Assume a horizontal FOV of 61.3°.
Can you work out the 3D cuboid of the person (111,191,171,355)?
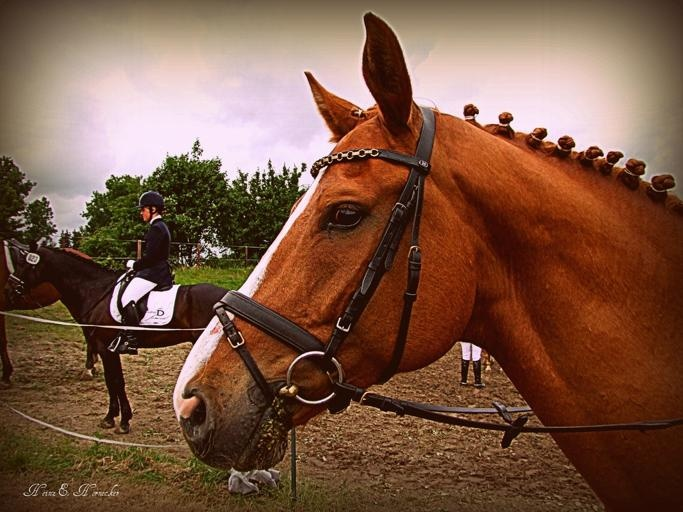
[{"bbox_3d":[-2.794,0.264,8.195,0.765,2.385,1.142,3,5,-14],"label":"person"}]

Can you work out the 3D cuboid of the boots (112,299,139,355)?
[{"bbox_3d":[-2.940,0.977,7.852,0.347,0.711,0.461,2,5,-16],"label":"boots"}]

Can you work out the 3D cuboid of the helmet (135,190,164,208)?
[{"bbox_3d":[-2.780,-0.829,8.452,0.376,0.226,0.260,6,-5,-37],"label":"helmet"}]
